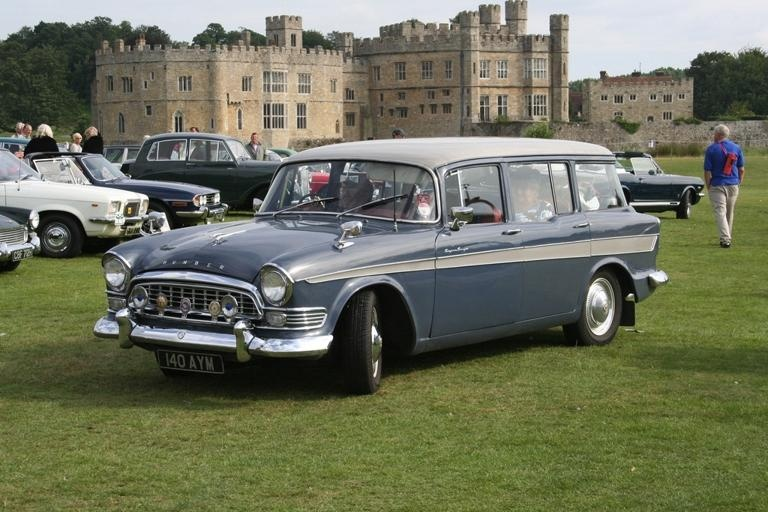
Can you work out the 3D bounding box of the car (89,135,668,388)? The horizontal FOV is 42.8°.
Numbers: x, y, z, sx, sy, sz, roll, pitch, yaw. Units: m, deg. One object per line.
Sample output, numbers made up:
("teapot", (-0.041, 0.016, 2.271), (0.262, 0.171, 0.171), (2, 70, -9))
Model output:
("car", (0.357, -0.072, 10.739), (5.369, 1.660, 2.856), (-1, 0, -42))
